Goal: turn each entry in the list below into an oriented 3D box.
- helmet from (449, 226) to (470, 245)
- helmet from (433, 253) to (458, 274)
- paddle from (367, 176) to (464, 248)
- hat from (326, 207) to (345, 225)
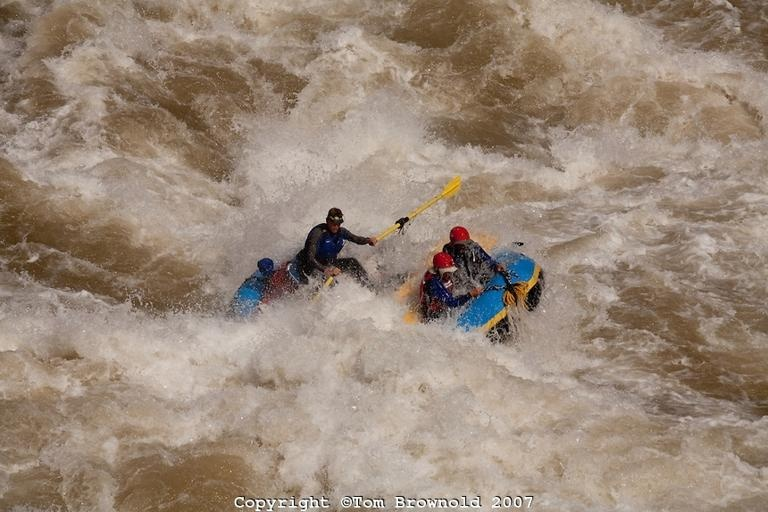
[{"bbox_3d":[1.748,-0.479,23.931,0.442,0.388,0.481,-1,69,0],"label":"helmet"},{"bbox_3d":[1.341,0.159,23.424,0.499,0.378,0.257,21,103,19],"label":"helmet"},{"bbox_3d":[0.801,-1.002,25.693,2.896,0.244,0.398,-33,77,-13],"label":"paddle"},{"bbox_3d":[-1.070,-0.912,24.073,0.354,0.406,0.376,1,79,-23],"label":"hat"}]
